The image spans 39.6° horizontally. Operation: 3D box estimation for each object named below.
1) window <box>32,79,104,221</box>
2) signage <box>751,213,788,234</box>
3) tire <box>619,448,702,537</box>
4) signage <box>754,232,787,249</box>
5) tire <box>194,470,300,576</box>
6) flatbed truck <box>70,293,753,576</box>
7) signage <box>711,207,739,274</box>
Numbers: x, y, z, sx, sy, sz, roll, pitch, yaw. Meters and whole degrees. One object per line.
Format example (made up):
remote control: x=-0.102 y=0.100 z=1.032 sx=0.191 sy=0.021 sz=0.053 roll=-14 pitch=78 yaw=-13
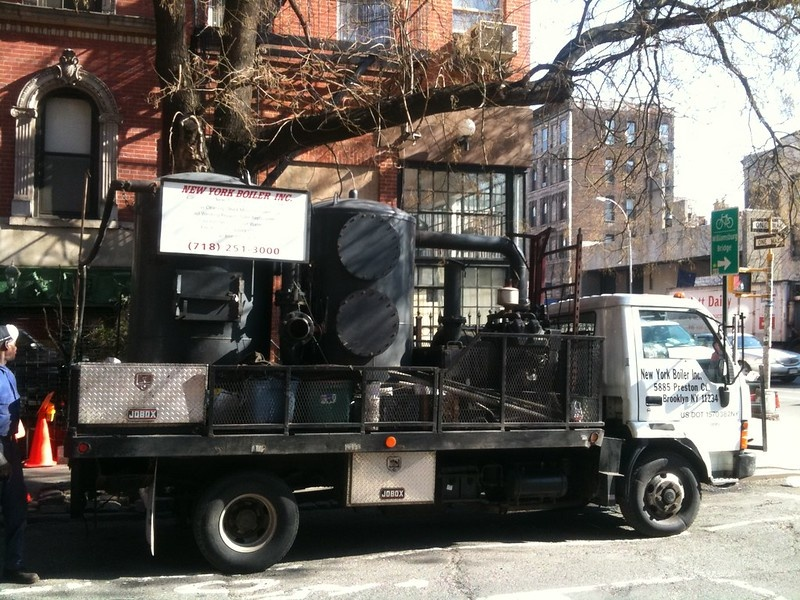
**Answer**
window: x=-6.210 y=-2.741 z=20.565 sx=1.198 sy=3.052 sz=0.238 roll=-1 pitch=40 yaw=-21
signage: x=7.057 y=-1.448 z=21.139 sx=0.709 sy=0.523 sz=0.134 roll=2 pitch=2 yaw=-17
tire: x=3.360 y=2.476 z=14.352 sx=0.826 sy=0.891 sz=0.350 roll=23 pitch=-10 yaw=-14
signage: x=6.778 y=-1.073 z=20.242 sx=0.449 sy=0.299 sz=1.440 roll=1 pitch=5 yaw=11
tire: x=-1.882 y=2.649 z=13.190 sx=1.092 sy=1.217 sz=0.412 roll=1 pitch=-3 yaw=-7
flatbed truck: x=0.038 y=1.629 z=14.937 sx=7.813 sy=3.114 sz=3.442 roll=-1 pitch=-2 yaw=-15
signage: x=5.790 y=-1.023 z=19.709 sx=0.531 sy=1.210 sz=0.015 roll=-4 pitch=-8 yaw=39
